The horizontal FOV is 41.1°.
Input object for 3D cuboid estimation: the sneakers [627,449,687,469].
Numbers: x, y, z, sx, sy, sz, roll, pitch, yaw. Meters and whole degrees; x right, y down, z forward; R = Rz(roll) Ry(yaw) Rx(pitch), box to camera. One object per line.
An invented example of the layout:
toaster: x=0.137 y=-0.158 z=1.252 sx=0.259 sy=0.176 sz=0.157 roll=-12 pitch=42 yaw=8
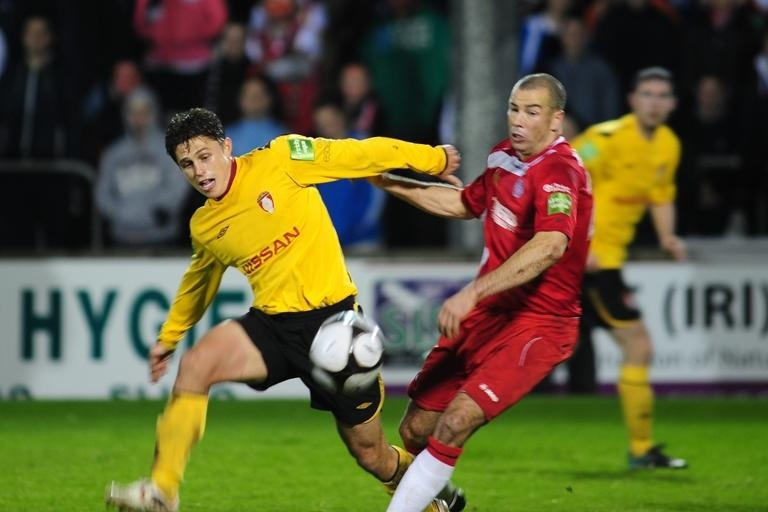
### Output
sneakers: x=2.252 y=1.691 z=8.594 sx=0.521 sy=0.260 sz=0.186 roll=-1 pitch=-3 yaw=6

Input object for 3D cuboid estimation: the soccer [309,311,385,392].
soccer: x=-0.245 y=0.689 z=7.256 sx=0.412 sy=0.440 sz=0.564 roll=-1 pitch=-3 yaw=5
